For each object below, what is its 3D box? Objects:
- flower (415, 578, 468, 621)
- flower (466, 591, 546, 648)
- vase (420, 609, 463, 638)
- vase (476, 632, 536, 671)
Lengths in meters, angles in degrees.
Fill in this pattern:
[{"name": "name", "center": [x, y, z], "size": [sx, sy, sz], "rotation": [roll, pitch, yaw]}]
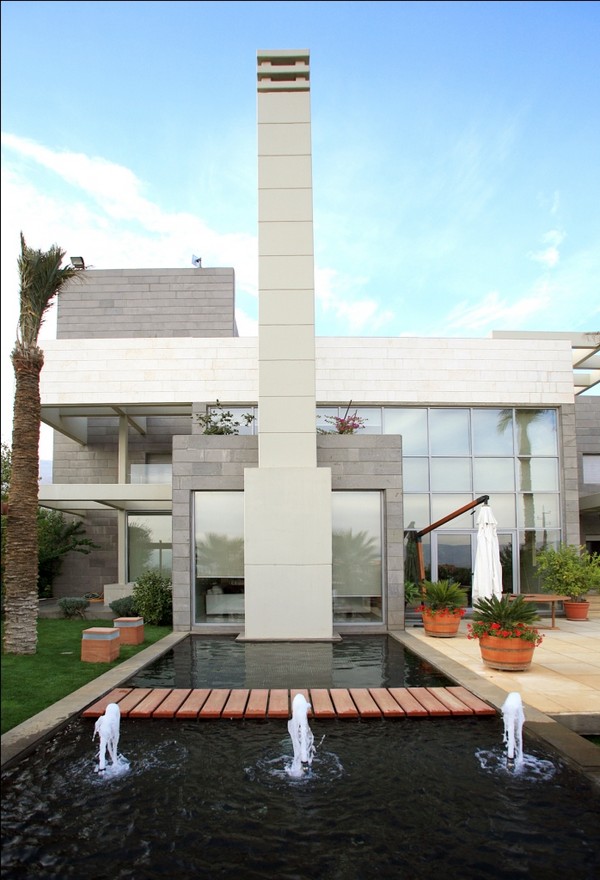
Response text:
[{"name": "flower", "center": [2.693, 2.806, 12.727], "size": [0.852, 0.478, 0.834], "rotation": [1, -4, -29]}, {"name": "flower", "center": [2.706, 2.367, 9.379], "size": [0.792, 0.477, 0.797], "rotation": [-6, -7, 41]}, {"name": "vase", "center": [2.497, 3.216, 12.585], "size": [0.602, 0.382, 0.586], "rotation": [5, -13, -17]}, {"name": "vase", "center": [2.674, 2.756, 9.309], "size": [0.611, 0.340, 0.536], "rotation": [2, -13, -2]}]
